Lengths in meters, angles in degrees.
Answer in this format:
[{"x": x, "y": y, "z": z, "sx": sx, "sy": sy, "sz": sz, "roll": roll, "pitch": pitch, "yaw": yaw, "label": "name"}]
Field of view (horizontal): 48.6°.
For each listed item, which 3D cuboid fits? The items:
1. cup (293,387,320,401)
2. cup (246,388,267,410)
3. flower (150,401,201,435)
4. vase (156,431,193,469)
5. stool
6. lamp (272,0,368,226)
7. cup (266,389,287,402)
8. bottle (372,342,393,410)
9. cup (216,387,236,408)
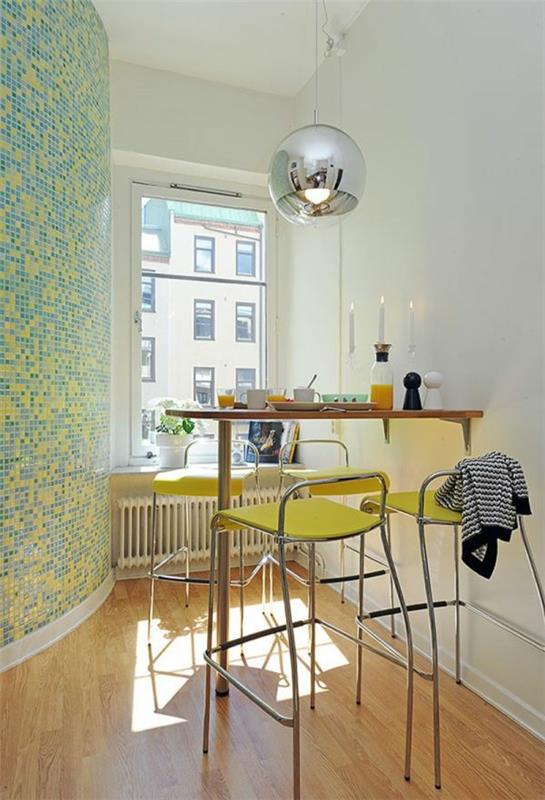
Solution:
[{"x": 0.122, "y": -0.018, "z": 2.087, "sx": 0.089, "sy": 0.084, "sz": 0.079, "roll": 1, "pitch": 1, "yaw": -7, "label": "cup"}, {"x": -0.051, "y": -0.005, "z": 1.946, "sx": 0.060, "sy": 0.057, "sz": 0.044, "roll": 0, "pitch": 4, "yaw": 13, "label": "cup"}, {"x": -0.567, "y": 0.130, "z": 3.533, "sx": 0.253, "sy": 0.263, "sz": 0.302, "roll": 2, "pitch": -2, "yaw": -26, "label": "flower"}, {"x": -0.564, "y": 0.286, "z": 3.542, "sx": 0.190, "sy": 0.211, "sz": 0.200, "roll": 2, "pitch": -3, "yaw": 5, "label": "vase"}, {"x": 0.275, "y": 0.574, "z": 1.902, "sx": 0.994, "sy": 0.869, "sz": 1.030, "roll": 0, "pitch": 1, "yaw": -9, "label": "stool"}, {"x": 0.143, "y": -0.810, "z": 1.937, "sx": 0.307, "sy": 0.408, "sz": 0.336, "roll": 0, "pitch": 1, "yaw": 22, "label": "lamp"}, {"x": 0.016, "y": -0.015, "z": 2.237, "sx": 0.052, "sy": 0.049, "sz": 0.053, "roll": -1, "pitch": 3, "yaw": 0, "label": "cup"}, {"x": 0.409, "y": -0.094, "z": 2.266, "sx": 0.071, "sy": 0.252, "sz": 0.267, "roll": 0, "pitch": 1, "yaw": 9, "label": "bottle"}, {"x": -0.170, "y": -0.006, "z": 2.198, "sx": 0.054, "sy": 0.058, "sz": 0.056, "roll": -1, "pitch": 1, "yaw": 0, "label": "cup"}]
